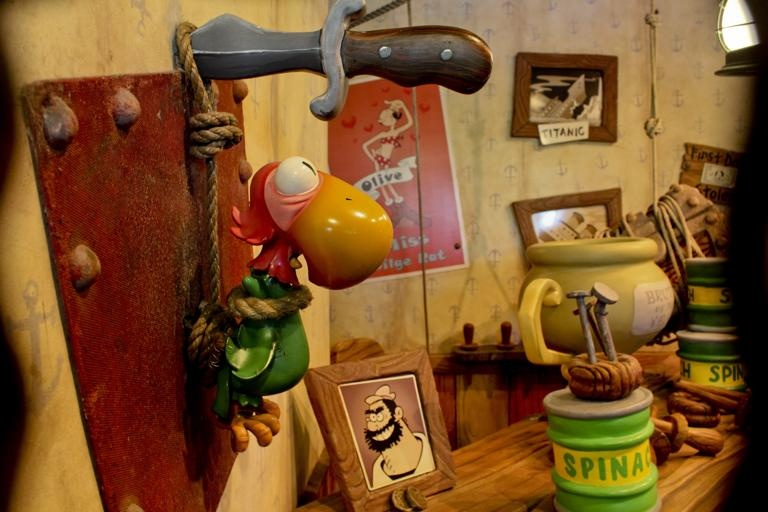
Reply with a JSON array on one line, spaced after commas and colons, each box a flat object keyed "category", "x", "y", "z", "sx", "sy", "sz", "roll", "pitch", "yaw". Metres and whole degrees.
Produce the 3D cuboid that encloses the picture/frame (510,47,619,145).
[{"category": "picture/frame", "x": 0.501, "y": -0.454, "z": 1.917, "sx": 0.221, "sy": 0.227, "sz": 0.018, "roll": 0, "pitch": 4, "yaw": 1}]
